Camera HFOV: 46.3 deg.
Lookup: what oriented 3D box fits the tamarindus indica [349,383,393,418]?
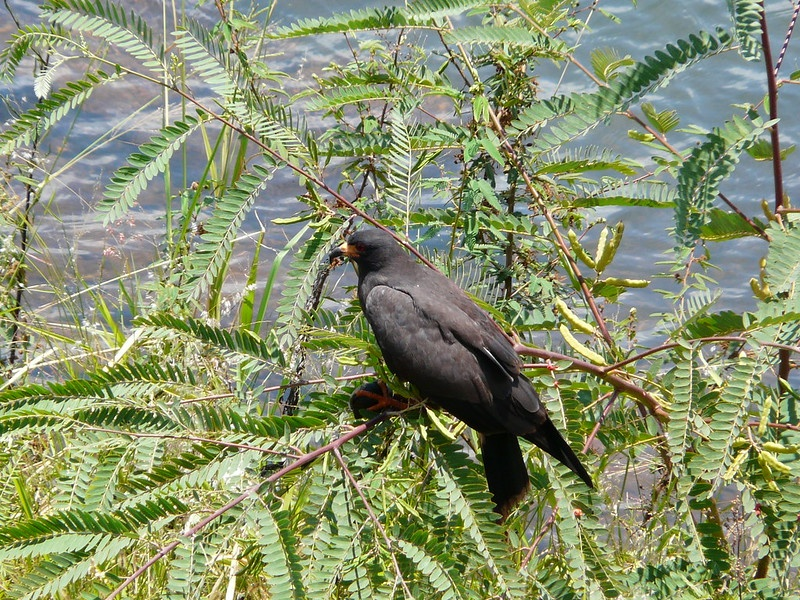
[{"bbox_3d":[-0.124,0.423,4.044,0.125,0.093,0.177,-24,-2,37],"label":"tamarindus indica"}]

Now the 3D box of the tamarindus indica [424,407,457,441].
[{"bbox_3d":[0.174,0.532,3.931,0.100,0.139,0.198,-12,23,-1],"label":"tamarindus indica"}]
